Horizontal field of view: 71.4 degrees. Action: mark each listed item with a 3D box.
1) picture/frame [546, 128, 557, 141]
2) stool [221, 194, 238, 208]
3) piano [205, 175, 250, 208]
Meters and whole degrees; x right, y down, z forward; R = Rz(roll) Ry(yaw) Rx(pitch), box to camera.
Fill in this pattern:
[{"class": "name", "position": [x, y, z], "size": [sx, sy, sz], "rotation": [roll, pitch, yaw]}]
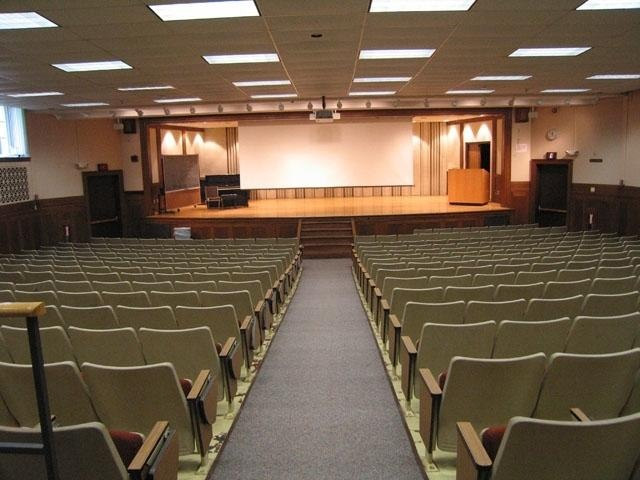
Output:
[{"class": "picture/frame", "position": [7.798, -3.587, 15.087], "size": [0.309, 0.342, 0.077], "rotation": [2, -2, 18]}, {"class": "stool", "position": [-3.846, -1.663, 18.968], "size": [0.609, 0.612, 0.523], "rotation": [0, 15, -4]}, {"class": "piano", "position": [-4.125, -1.855, 19.434], "size": [1.720, 1.151, 1.793], "rotation": [1, 10, -1]}]
